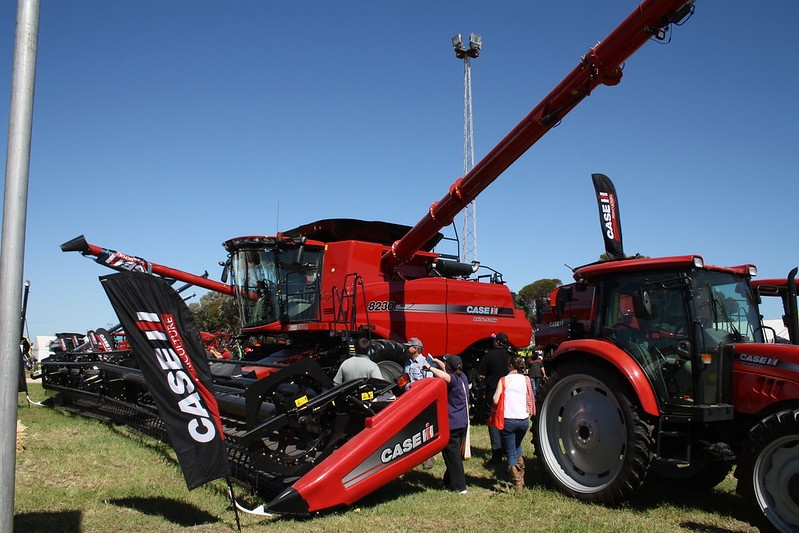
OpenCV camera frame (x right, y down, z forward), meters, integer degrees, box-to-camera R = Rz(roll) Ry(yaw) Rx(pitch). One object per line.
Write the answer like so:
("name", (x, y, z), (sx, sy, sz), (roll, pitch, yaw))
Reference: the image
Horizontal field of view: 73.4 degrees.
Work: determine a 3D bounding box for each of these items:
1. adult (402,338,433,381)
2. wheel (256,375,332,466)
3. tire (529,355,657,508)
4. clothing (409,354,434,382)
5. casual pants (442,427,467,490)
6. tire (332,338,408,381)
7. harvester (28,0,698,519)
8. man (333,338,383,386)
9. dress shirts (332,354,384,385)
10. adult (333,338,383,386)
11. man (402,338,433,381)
("adult", (0.295, 1.737, 9.907), (0.321, 0.934, 0.527), (21, -37, -29))
("wheel", (-1.356, 2.018, 7.113), (0.869, 1.119, 0.696), (0, -3, -8))
("tire", (2.806, 2.380, 7.590), (0.493, 1.657, 1.564), (11, -34, -40))
("clothing", (0.353, 1.766, 9.258), (0.173, 0.300, 0.349), (32, -33, -25))
("casual pants", (0.838, 2.934, 8.110), (0.390, 0.861, 0.289), (0, -3, -17))
("tire", (-0.569, 1.774, 10.067), (0.458, 1.073, 1.099), (-18, -9, 42))
("harvester", (-4.656, 0.770, 14.402), (5.957, 7.573, 17.718), (6, -8, -41))
("man", (-0.707, 1.661, 9.219), (1.025, 1.007, 0.531), (3, -2, 16))
("dress shirts", (-0.682, 1.625, 8.450), (0.722, 0.414, 0.384), (-2, -4, 30))
("adult", (-0.707, 1.661, 9.219), (1.025, 1.007, 0.531), (3, -2, 16))
("man", (0.295, 1.737, 9.907), (0.321, 0.934, 0.527), (21, -37, -29))
